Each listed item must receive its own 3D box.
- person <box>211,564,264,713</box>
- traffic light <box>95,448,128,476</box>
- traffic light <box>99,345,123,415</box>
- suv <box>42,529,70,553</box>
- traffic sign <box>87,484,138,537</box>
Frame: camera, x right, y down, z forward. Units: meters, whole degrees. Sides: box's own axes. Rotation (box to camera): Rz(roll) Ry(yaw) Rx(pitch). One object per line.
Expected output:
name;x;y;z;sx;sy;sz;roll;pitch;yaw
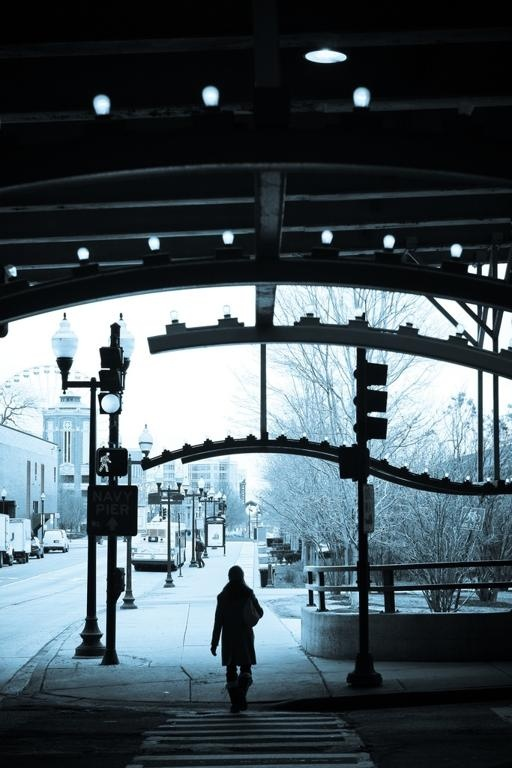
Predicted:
person;-0.212;2.740;11.865;0.543;1.450;1.110;-1;-6;-1
traffic light;-1.948;1.062;14.787;0.362;0.409;0.127;0;-2;22
traffic light;-2.019;-0.047;15.121;0.321;0.943;0.684;0;-6;-7
suv;-13.889;10.996;76.172;1.048;1.129;2.174;0;1;-1
traffic sign;-1.895;1.670;14.326;0.592;0.697;0.068;3;-11;-16
